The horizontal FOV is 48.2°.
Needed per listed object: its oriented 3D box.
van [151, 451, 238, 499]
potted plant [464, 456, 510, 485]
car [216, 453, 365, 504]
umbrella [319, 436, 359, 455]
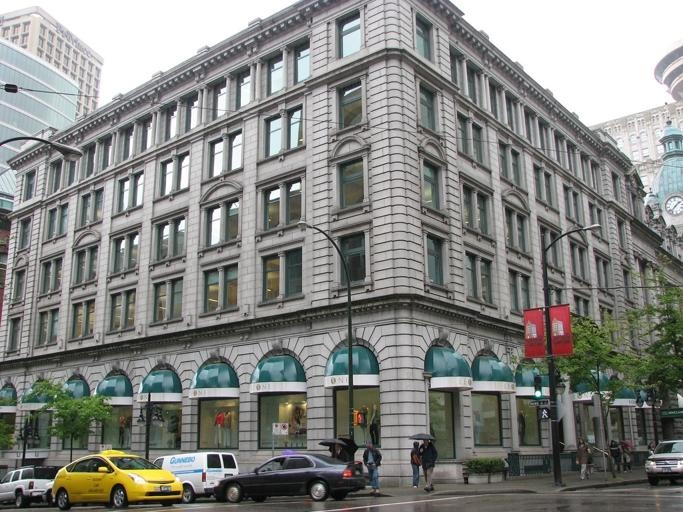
[{"bbox_3d":[-7.579,11.493,38.829,4.047,2.612,3.520,-1,-12,6],"label":"van"},{"bbox_3d":[8.240,12.305,43.819,1.893,1.018,1.549,0,-15,1],"label":"potted plant"},{"bbox_3d":[-2.411,10.689,36.838,6.669,2.315,0.765,-8,-24,14],"label":"car"},{"bbox_3d":[-0.121,10.012,40.334,1.543,1.010,2.058,2,-22,-10],"label":"umbrella"}]
